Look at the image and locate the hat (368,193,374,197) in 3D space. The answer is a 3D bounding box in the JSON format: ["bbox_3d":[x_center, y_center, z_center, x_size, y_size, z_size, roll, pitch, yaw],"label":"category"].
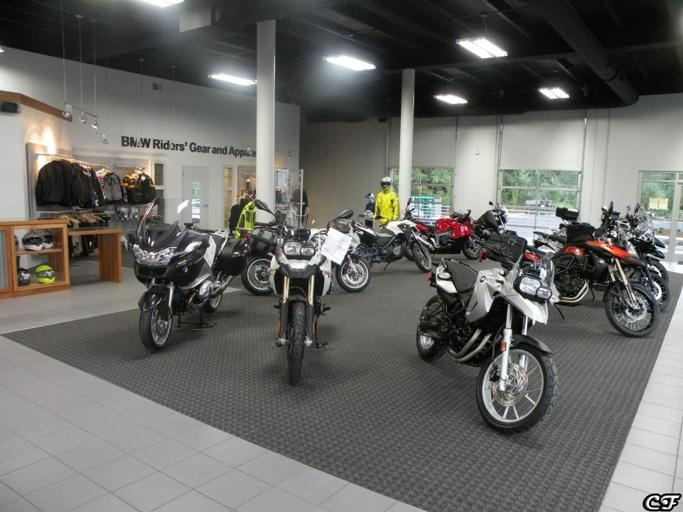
[{"bbox_3d":[0.678,-1.459,10.115,0.126,0.043,0.129,-1,0,-13],"label":"hat"}]

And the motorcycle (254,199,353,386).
[{"bbox_3d":[-0.388,0.285,4.830,0.793,1.325,1.907,5,2,2],"label":"motorcycle"}]

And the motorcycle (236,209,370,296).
[{"bbox_3d":[-0.569,-0.016,7.117,2.041,1.455,1.243,2,2,-7],"label":"motorcycle"}]

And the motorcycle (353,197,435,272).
[{"bbox_3d":[0.993,-0.255,9.430,1.715,1.178,0.933,-3,5,-33],"label":"motorcycle"}]

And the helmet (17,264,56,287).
[{"bbox_3d":[-5.141,0.325,7.200,0.484,0.315,0.322,6,-2,-43],"label":"helmet"}]

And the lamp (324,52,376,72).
[{"bbox_3d":[0.189,-5.032,11.030,1.207,0.113,0.439,2,-17,6],"label":"lamp"}]

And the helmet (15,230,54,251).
[{"bbox_3d":[-5.097,-0.269,7.174,0.273,0.329,0.479,5,10,24],"label":"helmet"}]
